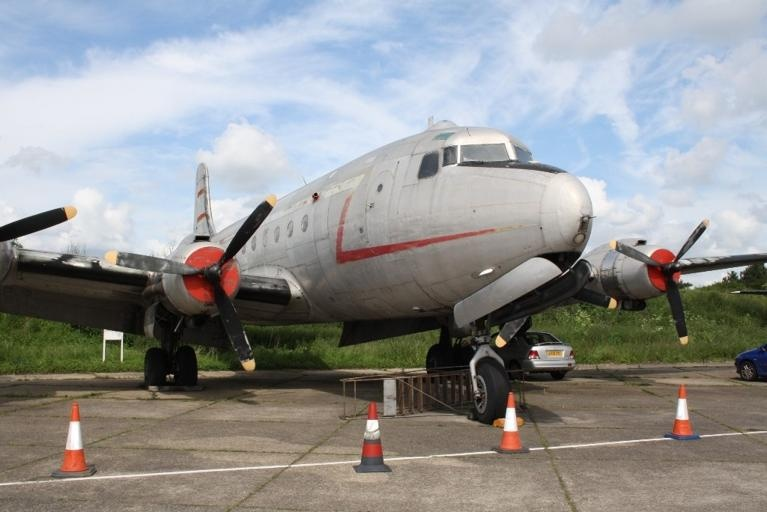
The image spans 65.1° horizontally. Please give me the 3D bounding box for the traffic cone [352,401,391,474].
[{"bbox_3d":[-0.203,2.612,8.956,0.520,0.933,1.000,-3,-4,-3],"label":"traffic cone"}]

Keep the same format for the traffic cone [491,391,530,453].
[{"bbox_3d":[2.070,2.630,9.820,0.454,0.849,1.316,-5,-4,12],"label":"traffic cone"}]

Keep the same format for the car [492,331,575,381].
[{"bbox_3d":[4.505,2.941,17.999,1.634,1.038,3.362,0,-2,-15],"label":"car"}]
